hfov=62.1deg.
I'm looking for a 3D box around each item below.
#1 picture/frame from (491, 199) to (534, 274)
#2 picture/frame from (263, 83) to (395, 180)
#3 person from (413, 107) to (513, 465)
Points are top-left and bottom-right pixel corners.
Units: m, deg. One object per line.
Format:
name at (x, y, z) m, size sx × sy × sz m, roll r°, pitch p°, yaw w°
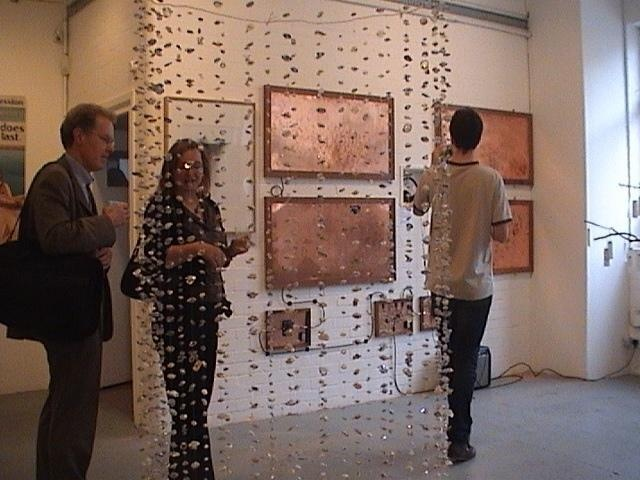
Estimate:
picture/frame at (1.717, -0.021, 4.792) m, size 0.662 × 0.848 × 0.057 m, roll 1°, pitch -2°, yaw -22°
picture/frame at (0.045, -0.775, 3.649) m, size 0.902 × 0.700 × 1.552 m, roll 1°, pitch 5°, yaw 8°
person at (0.903, 0.324, 3.520) m, size 0.729 × 2.391 × 0.440 m, roll -3°, pitch 5°, yaw -39°
